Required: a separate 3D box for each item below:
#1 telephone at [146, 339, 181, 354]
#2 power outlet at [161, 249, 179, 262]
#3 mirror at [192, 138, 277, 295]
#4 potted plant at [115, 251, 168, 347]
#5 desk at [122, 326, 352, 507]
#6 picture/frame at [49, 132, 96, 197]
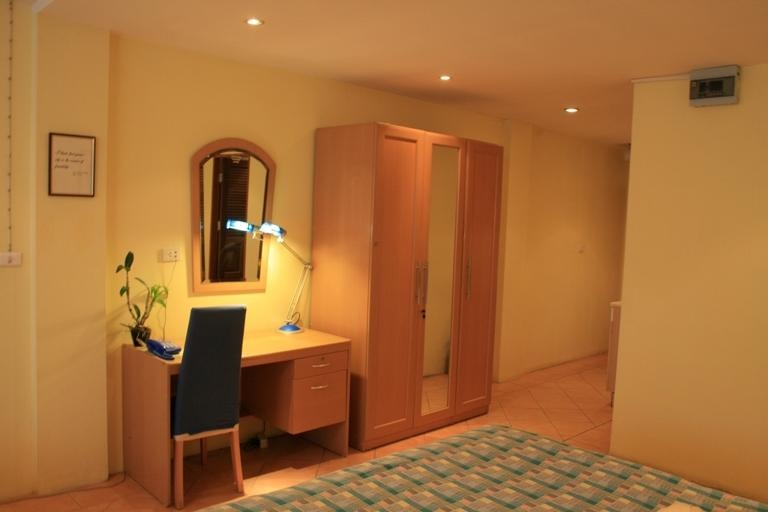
[{"bbox_3d":[-1.549,0.636,4.167,0.162,0.047,0.119,17,7,30],"label":"telephone"},{"bbox_3d":[-1.626,-0.006,4.501,0.093,0.074,0.030,-2,8,-35],"label":"power outlet"},{"bbox_3d":[-1.200,-0.317,4.742,0.715,1.242,0.037,-4,5,-34],"label":"mirror"},{"bbox_3d":[-1.764,0.304,4.359,0.359,0.683,0.211,-3,5,-20],"label":"potted plant"},{"bbox_3d":[-1.160,0.739,4.547,1.017,1.169,2.008,3,3,43],"label":"desk"},{"bbox_3d":[-2.163,-0.635,4.128,0.291,0.435,0.049,-4,5,-35],"label":"picture/frame"}]
